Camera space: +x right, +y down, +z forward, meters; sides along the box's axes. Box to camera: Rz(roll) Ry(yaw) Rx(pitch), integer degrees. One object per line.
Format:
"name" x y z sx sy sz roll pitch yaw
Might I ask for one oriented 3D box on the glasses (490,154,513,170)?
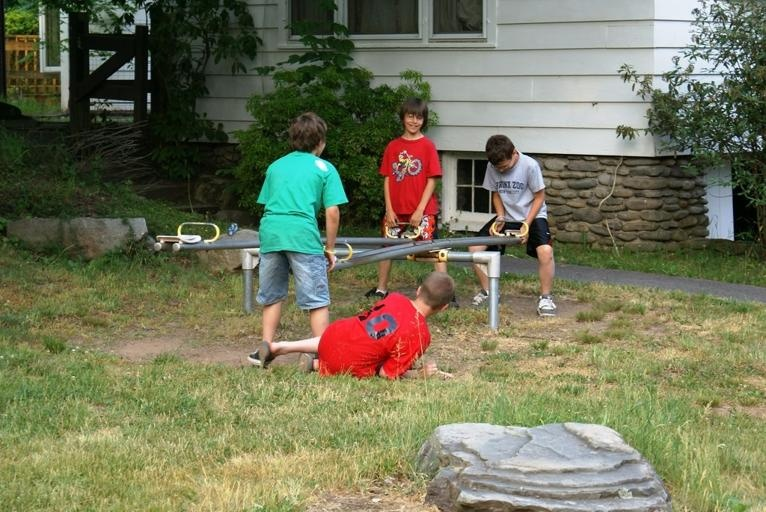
"glasses" 1.297 -1.060 12.076 0.168 0.211 0.211 -7 -33 35

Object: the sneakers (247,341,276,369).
"sneakers" -1.154 0.957 10.440 0.133 0.169 0.390 8 0 -14

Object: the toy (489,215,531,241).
"toy" 1.417 -0.298 12.133 0.293 0.131 0.322 8 -8 -43

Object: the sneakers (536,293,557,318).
"sneakers" 1.809 0.535 12.101 0.215 0.210 0.303 0 7 7

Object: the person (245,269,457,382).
"person" -0.316 0.702 10.416 1.960 0.871 0.852 -8 23 -15

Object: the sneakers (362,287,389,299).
"sneakers" -0.078 0.424 12.594 0.212 0.091 0.126 5 0 18

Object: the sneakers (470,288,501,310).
"sneakers" 1.118 0.463 12.410 0.439 0.189 0.146 -4 4 -15

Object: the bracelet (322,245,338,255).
"bracelet" -0.511 -0.068 10.787 0.080 0.103 0.101 1 -8 -17
